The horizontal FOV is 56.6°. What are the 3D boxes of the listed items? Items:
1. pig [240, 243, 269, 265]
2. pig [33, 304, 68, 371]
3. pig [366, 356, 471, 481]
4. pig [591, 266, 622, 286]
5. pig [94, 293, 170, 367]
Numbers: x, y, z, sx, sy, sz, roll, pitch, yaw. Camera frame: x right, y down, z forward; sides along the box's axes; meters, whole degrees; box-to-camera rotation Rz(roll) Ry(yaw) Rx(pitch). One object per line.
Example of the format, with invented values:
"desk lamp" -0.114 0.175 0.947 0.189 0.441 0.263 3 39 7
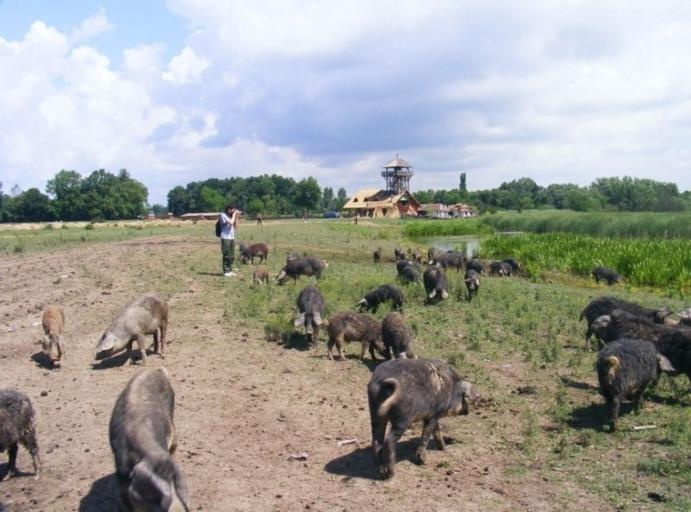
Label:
"pig" -4.646 -0.134 32.534 1.362 0.953 1.893 -2 3 -8
"pig" -7.806 2.139 17.139 0.944 1.628 0.892 0 6 -22
"pig" 1.661 3.500 14.528 1.827 2.586 2.119 7 4 5
"pig" 11.837 0.884 29.209 1.345 0.781 0.834 1 4 44
"pig" -5.615 1.950 17.147 0.810 1.735 2.196 0 3 27
